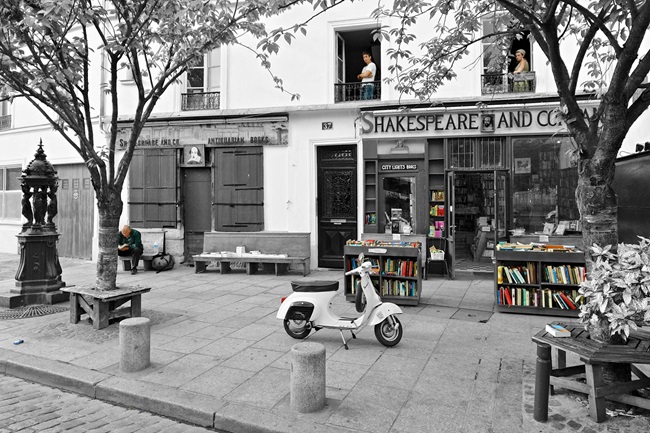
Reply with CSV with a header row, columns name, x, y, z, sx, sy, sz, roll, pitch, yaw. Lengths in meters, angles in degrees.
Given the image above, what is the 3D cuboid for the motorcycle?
name,x,y,z,sx,sy,sz,roll,pitch,yaw
motorcycle,0.249,1.669,10.815,2.363,1.585,1.016,2,0,10

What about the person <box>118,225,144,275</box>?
name,x,y,z,sx,sy,sz,roll,pitch,yaw
person,-5.806,0.990,16.887,0.687,1.494,0.602,-2,0,19

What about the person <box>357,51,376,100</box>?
name,x,y,z,sx,sy,sz,roll,pitch,yaw
person,1.251,-4.308,17.226,0.528,1.434,0.618,-2,0,4

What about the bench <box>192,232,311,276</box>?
name,x,y,z,sx,sy,sz,roll,pitch,yaw
bench,-2.139,1.099,16.648,3.218,1.250,0.953,1,2,7

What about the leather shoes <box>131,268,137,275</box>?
name,x,y,z,sx,sy,sz,roll,pitch,yaw
leather shoes,-5.601,1.612,16.624,0.161,0.198,0.457,-1,-3,-5

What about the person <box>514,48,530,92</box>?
name,x,y,z,sx,sy,sz,roll,pitch,yaw
person,5.508,-4.167,16.018,0.440,1.193,0.836,-2,0,21

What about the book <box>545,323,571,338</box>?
name,x,y,z,sx,sy,sz,roll,pitch,yaw
book,3.669,1.814,8.965,0.349,0.184,0.334,-2,0,-10

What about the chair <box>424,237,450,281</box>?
name,x,y,z,sx,sy,sz,roll,pitch,yaw
chair,2.990,1.205,15.965,0.764,1.148,0.764,-5,3,-12

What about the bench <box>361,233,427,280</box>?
name,x,y,z,sx,sy,sz,roll,pitch,yaw
bench,1.739,1.038,15.660,1.694,1.137,0.547,2,2,1

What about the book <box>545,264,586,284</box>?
name,x,y,z,sx,sy,sz,roll,pitch,yaw
book,5.073,1.258,12.137,0.821,0.402,0.176,-3,0,20
